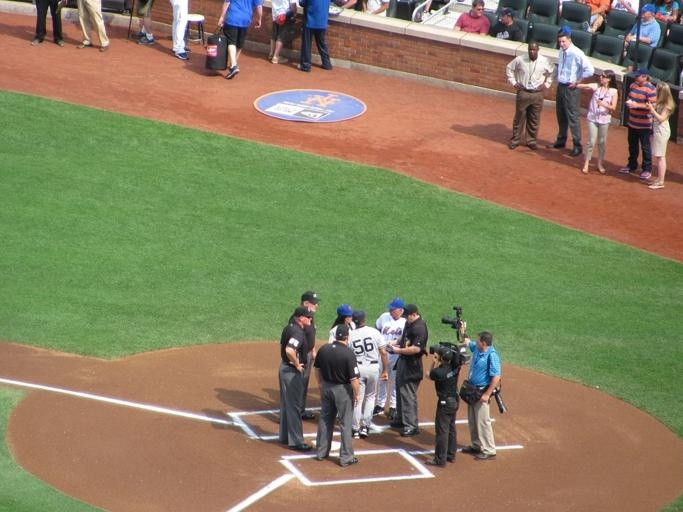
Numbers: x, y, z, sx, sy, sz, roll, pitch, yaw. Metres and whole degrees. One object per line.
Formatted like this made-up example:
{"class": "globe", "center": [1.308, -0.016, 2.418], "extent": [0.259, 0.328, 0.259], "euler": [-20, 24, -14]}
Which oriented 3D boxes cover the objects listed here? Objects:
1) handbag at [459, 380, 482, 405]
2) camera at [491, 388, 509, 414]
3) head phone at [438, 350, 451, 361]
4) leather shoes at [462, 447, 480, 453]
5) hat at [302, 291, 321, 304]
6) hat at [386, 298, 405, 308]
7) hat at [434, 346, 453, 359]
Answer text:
{"class": "handbag", "center": [2.192, 2.323, 23.611], "extent": [0.342, 0.341, 0.292], "euler": [1, 10, -19]}
{"class": "camera", "center": [2.781, 2.529, 24.350], "extent": [0.105, 0.439, 0.416], "euler": [-15, 10, -7]}
{"class": "head phone", "center": [1.733, 1.662, 23.367], "extent": [0.197, 0.212, 0.145], "euler": [-11, -6, -39]}
{"class": "leather shoes", "center": [2.214, 3.325, 23.795], "extent": [0.271, 0.135, 0.121], "euler": [9, 9, 7]}
{"class": "hat", "center": [-0.528, 0.712, 24.076], "extent": [0.265, 0.171, 0.201], "euler": [0, 13, -6]}
{"class": "hat", "center": [0.964, 0.810, 24.415], "extent": [0.218, 0.141, 0.169], "euler": [4, 15, 4]}
{"class": "hat", "center": [1.711, 1.609, 23.386], "extent": [0.240, 0.227, 0.186], "euler": [-5, 12, 31]}
